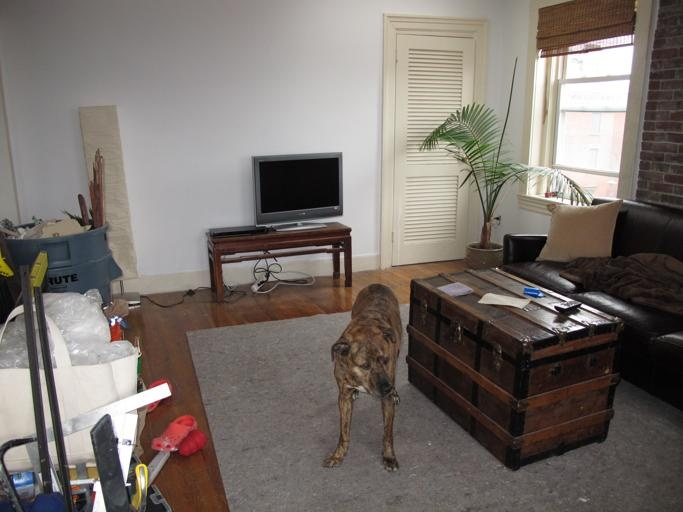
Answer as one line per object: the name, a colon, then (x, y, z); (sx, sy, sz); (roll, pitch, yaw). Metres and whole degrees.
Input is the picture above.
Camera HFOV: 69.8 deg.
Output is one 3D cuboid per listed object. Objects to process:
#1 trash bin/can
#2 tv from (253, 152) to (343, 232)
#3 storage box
trash bin/can: (-2.158, 0.135, 3.900); (0.761, 0.661, 0.480); (-14, 17, -39)
tv: (-0.472, -0.658, 4.893); (0.743, 0.579, 0.074); (-6, 13, -20)
storage box: (0.916, 0.551, 2.895); (0.887, 0.911, 1.215); (-6, 18, -21)
